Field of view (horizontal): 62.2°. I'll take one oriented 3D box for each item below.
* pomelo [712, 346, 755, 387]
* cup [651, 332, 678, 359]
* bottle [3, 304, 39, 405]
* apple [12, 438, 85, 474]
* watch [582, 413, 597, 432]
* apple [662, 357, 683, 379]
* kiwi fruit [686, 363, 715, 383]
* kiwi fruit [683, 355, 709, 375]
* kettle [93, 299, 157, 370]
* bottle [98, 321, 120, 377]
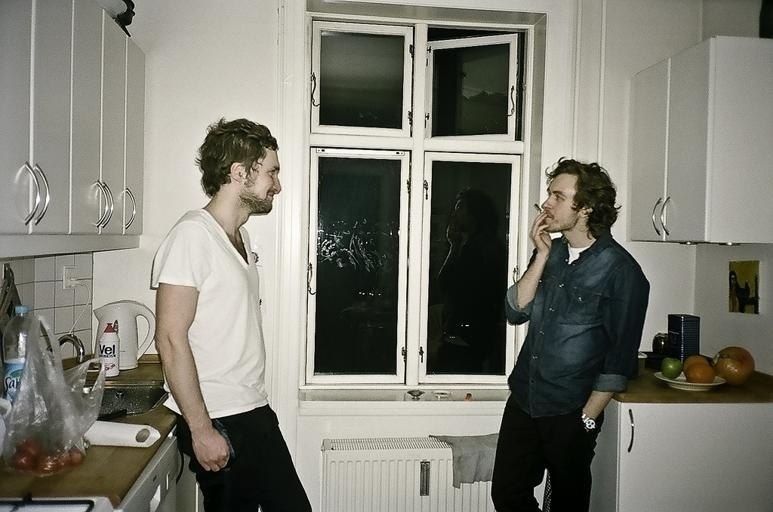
[{"bbox_3d":[1.820,0.577,3.385,0.197,0.207,0.209,5,-9,3],"label":"pomelo"},{"bbox_3d":[1.581,0.497,3.642,0.100,0.133,0.161,1,5,-1],"label":"cup"},{"bbox_3d":[-1.565,0.405,2.712,0.109,0.359,0.240,-2,5,-31],"label":"bottle"},{"bbox_3d":[-1.351,0.765,2.543,0.152,0.065,0.157,2,-8,8],"label":"apple"},{"bbox_3d":[0.969,0.798,3.079,0.078,0.061,0.028,25,14,11],"label":"watch"},{"bbox_3d":[1.481,0.577,3.335,0.095,0.097,0.097,1,1,-6],"label":"apple"},{"bbox_3d":[1.591,0.594,3.247,0.101,0.081,0.100,-5,-1,8],"label":"kiwi fruit"},{"bbox_3d":[1.599,0.546,3.324,0.099,0.099,0.095,15,20,42],"label":"kiwi fruit"},{"bbox_3d":[-1.376,0.419,3.388,0.317,0.342,0.192,-1,2,-33],"label":"kettle"},{"bbox_3d":[-1.402,0.467,3.229,0.100,0.260,0.130,-1,5,-25],"label":"bottle"}]
